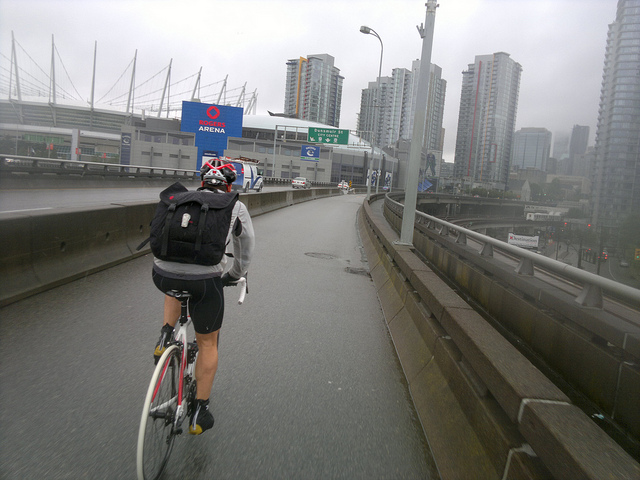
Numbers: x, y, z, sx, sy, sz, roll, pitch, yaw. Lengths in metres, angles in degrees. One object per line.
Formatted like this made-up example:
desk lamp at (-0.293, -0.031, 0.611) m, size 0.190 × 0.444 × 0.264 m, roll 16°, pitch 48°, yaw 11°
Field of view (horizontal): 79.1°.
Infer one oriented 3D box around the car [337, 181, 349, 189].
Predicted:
car at (5.595, -11.968, 85.512) m, size 1.385 × 1.138 × 3.162 m, roll 6°, pitch 14°, yaw 23°

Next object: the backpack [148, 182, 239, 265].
backpack at (-0.967, -0.134, 3.019) m, size 0.593 × 0.724 × 0.431 m, roll 3°, pitch -16°, yaw 10°

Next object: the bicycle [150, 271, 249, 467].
bicycle at (-0.953, 0.992, 3.109) m, size 0.705 × 1.250 × 0.931 m, roll -3°, pitch 8°, yaw -21°
